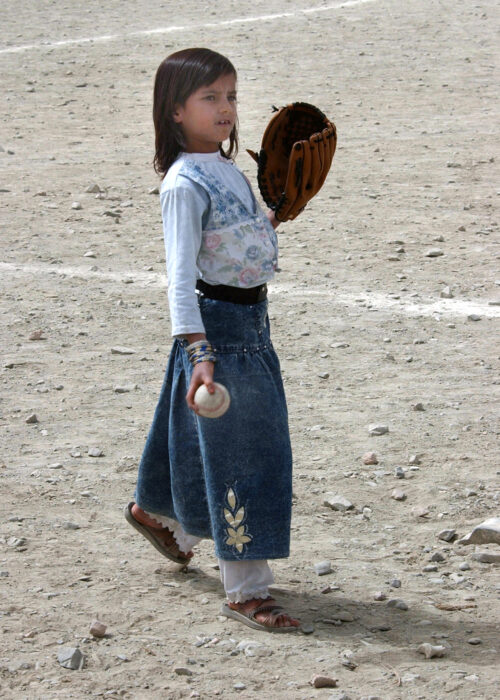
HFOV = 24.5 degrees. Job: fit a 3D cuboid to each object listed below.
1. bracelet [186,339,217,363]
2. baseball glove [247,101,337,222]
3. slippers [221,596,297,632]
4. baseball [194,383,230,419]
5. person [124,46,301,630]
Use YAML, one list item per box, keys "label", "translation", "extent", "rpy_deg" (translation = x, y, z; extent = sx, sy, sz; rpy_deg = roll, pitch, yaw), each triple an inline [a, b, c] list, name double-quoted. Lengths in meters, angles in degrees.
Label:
- label: "bracelet"
  translation: [-0.138, 0.004, 3.293]
  extent: [0.074, 0.055, 0.068]
  rpy_deg: [-14, 1, 0]
- label: "baseball glove"
  translation: [0.153, -0.619, 3.707]
  extent: [0.210, 0.376, 0.321]
  rpy_deg: [11, -3, -32]
- label: "slippers"
  translation: [0.031, 0.845, 3.684]
  extent: [0.217, 0.079, 0.094]
  rpy_deg: [2, 4, 32]
- label: "baseball"
  translation: [-0.108, 0.144, 3.208]
  extent: [0.102, 0.086, 0.055]
  rpy_deg: [-3, 1, 4]
- label: "person"
  translation: [-0.102, -0.007, 3.559]
  extent: [0.494, 1.801, 0.732]
  rpy_deg: [-4, 16, -11]
